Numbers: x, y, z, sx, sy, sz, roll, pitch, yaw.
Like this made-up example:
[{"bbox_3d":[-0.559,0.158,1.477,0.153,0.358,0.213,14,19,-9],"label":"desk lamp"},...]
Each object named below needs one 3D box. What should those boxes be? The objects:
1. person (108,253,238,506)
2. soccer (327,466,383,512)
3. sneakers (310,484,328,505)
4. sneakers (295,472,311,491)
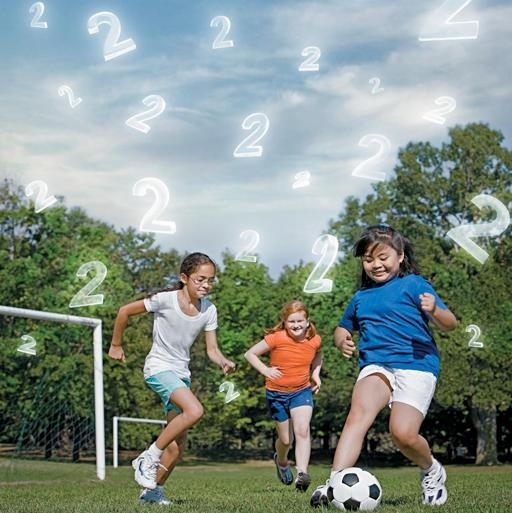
[{"bbox_3d":[-1.086,1.624,13.422,1.541,3.318,0.687,0,-12,-1],"label":"person"},{"bbox_3d":[1.254,2.959,12.721,0.688,0.527,0.574,2,-11,0],"label":"soccer"},{"bbox_3d":[0.844,3.096,12.916,0.202,0.284,0.103,14,-30,29],"label":"sneakers"},{"bbox_3d":[0.681,3.252,14.404,0.193,0.141,0.316,5,-41,-3],"label":"sneakers"}]
